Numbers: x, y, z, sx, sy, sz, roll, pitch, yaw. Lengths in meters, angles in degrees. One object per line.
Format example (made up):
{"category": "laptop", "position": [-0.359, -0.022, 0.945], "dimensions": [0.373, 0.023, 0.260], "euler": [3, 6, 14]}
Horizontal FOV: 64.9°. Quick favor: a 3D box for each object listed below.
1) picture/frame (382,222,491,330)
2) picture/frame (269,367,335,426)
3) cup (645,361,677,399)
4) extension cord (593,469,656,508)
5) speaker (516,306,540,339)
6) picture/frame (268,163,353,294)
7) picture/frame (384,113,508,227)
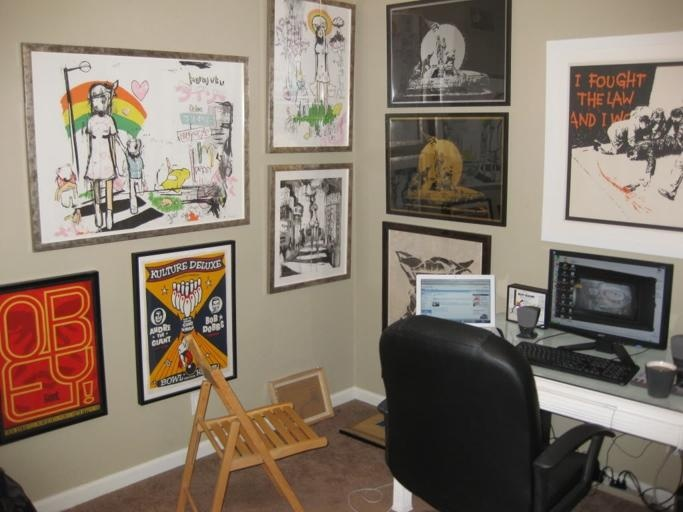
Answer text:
{"category": "picture/frame", "position": [0.657, 0.093, 3.576], "dimensions": [0.659, 0.776, 0.028], "euler": [10, 15, 43]}
{"category": "picture/frame", "position": [-0.307, 1.020, 3.911], "dimensions": [0.420, 0.388, 0.042], "euler": [-4, -16, -37]}
{"category": "cup", "position": [1.529, 0.577, 2.623], "dimensions": [0.141, 0.157, 0.168], "euler": [3, 11, 14]}
{"category": "extension cord", "position": [1.751, 1.401, 3.300], "dimensions": [0.260, 0.126, 0.169], "euler": [23, 19, 40]}
{"category": "speaker", "position": [1.105, 0.390, 3.189], "dimensions": [0.134, 0.214, 0.113], "euler": [4, 13, 31]}
{"category": "picture/frame", "position": [-0.255, -0.240, 4.005], "dimensions": [0.041, 1.087, 0.828], "euler": [10, 14, 44]}
{"category": "picture/frame", "position": [0.763, -0.623, 3.766], "dimensions": [0.712, 0.645, 0.030], "euler": [12, 20, 40]}
